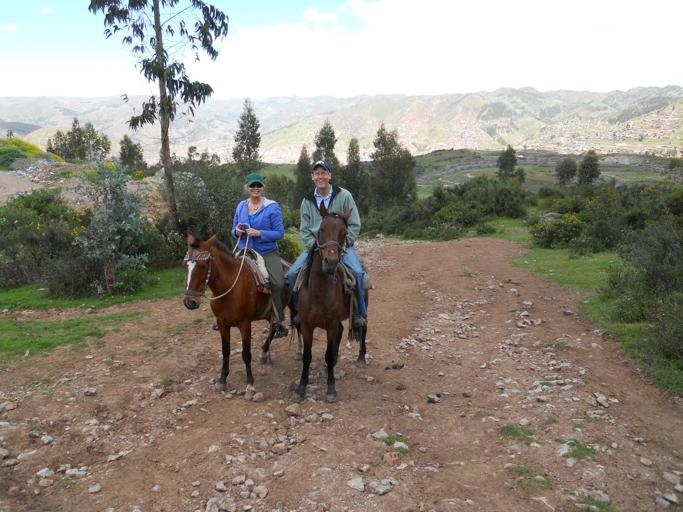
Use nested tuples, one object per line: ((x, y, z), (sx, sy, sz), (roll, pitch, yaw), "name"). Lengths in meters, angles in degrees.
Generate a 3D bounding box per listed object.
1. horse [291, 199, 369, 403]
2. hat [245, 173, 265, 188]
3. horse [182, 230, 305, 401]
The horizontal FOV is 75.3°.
((-0.288, 0.879, 9.176), (1.340, 3.932, 1.831), (2, 13, 10), "horse")
((-1.972, -1.746, 9.967), (0.299, 0.257, 0.424), (0, -4, -9), "hat")
((-2.138, 1.167, 10.165), (1.026, 3.411, 4.064), (0, 3, 19), "horse")
